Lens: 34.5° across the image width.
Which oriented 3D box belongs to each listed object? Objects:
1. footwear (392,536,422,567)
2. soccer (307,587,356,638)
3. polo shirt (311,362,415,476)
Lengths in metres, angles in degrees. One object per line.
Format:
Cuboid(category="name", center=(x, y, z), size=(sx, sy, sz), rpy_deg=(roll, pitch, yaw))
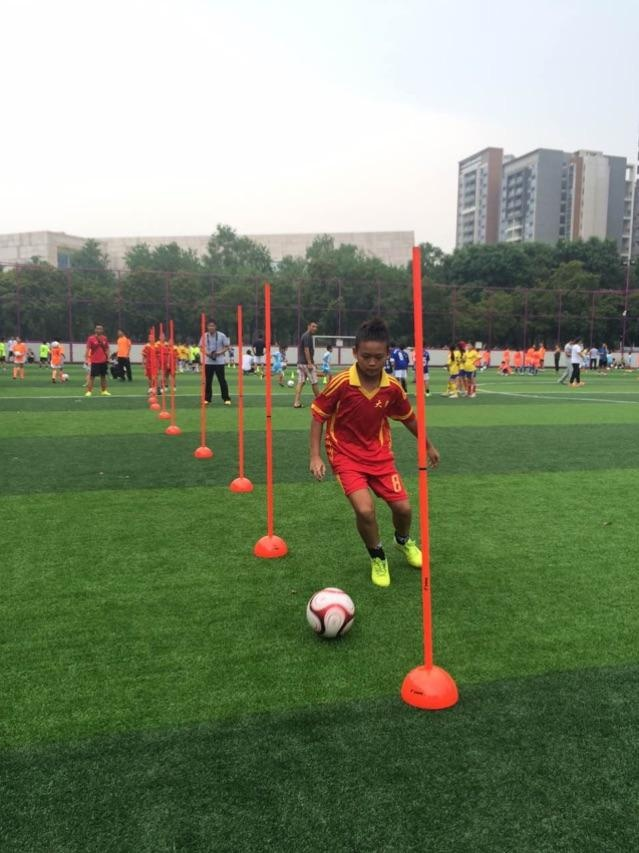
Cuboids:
Cuboid(category="footwear", center=(0.461, 0.659, 5.245), size=(0.077, 0.085, 0.202), rpy_deg=(-28, 45, -4))
Cuboid(category="soccer", center=(0.053, 0.723, 4.142), size=(0.186, 0.183, 0.179), rpy_deg=(1, 10, -1))
Cuboid(category="polo shirt", center=(0.213, -0.048, 4.973), size=(0.485, 0.530, 0.329), rpy_deg=(0, 10, 1))
